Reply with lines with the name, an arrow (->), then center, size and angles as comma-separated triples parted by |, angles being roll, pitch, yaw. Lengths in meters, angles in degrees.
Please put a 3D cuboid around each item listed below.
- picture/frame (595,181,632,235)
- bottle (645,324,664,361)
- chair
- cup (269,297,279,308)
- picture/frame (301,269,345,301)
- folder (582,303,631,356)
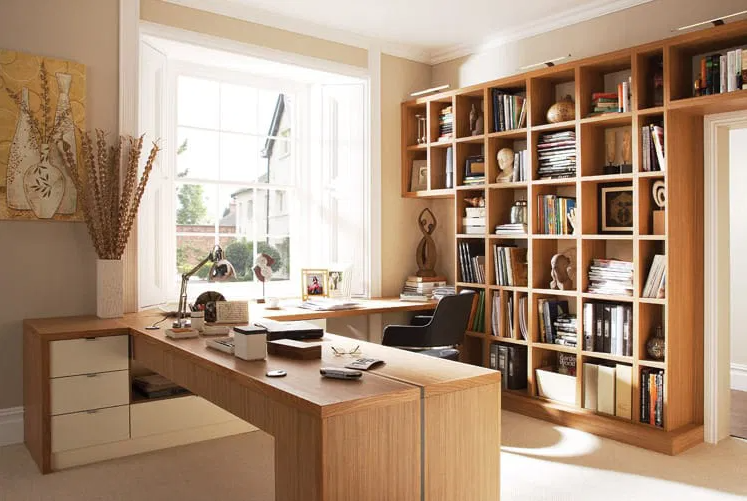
picture/frame -> 2.018, -0.355, 4.700 | 0.035, 0.504, 0.453 | 5, -5, -39
bottle -> 2.244, 0.743, 4.492 | 0.135, 0.239, 0.303 | 5, 11, 26
chair -> 0.390, 0.666, 4.822 | 0.723, 0.545, 0.743 | -5, 2, -44
cup -> -0.872, 0.463, 4.994 | 0.082, 0.065, 0.075 | 0, 7, 0
picture/frame -> -0.493, 0.331, 5.330 | 0.324, 0.210, 0.022 | 0, 1, -9
folder -> 1.953, 0.585, 4.717 | 0.362, 0.465, 0.498 | 1, 1, 27
